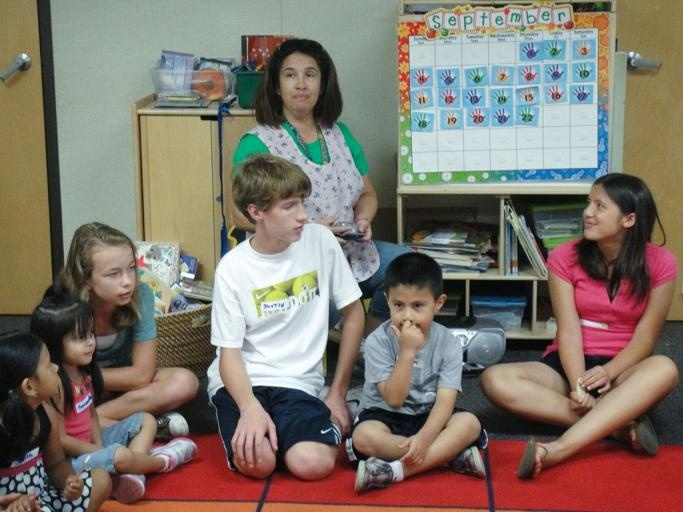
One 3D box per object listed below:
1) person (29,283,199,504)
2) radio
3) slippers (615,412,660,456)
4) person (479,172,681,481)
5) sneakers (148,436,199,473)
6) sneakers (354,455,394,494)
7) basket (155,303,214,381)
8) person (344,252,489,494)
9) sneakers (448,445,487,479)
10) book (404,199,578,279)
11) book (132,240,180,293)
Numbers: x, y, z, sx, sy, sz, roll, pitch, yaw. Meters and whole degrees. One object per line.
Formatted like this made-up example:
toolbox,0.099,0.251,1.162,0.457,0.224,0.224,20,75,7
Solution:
person,-0.715,0.378,2.220,0.544,0.758,0.496,3,12,7
radio,0.562,0.356,2.837,0.282,0.216,0.174,-3,29,16
slippers,0.971,0.584,2.161,0.071,0.089,0.140,-28,1,-4
person,0.902,0.174,2.503,0.655,1.053,0.948,5,5,38
sneakers,-0.526,0.627,2.096,0.062,0.068,0.159,-8,9,42
sneakers,0.100,0.651,1.938,0.108,0.085,0.064,0,-27,-17
basket,-0.638,0.350,2.687,0.259,0.206,0.234,-5,3,-27
person,0.237,0.317,2.174,0.530,0.826,0.621,-2,14,-1
sneakers,0.395,0.634,2.020,0.146,0.069,0.051,3,5,44
book,0.643,-0.052,3.055,0.522,0.220,0.414,0,8,5
book,-0.860,0.055,3.038,0.203,0.217,0.051,8,-7,1
